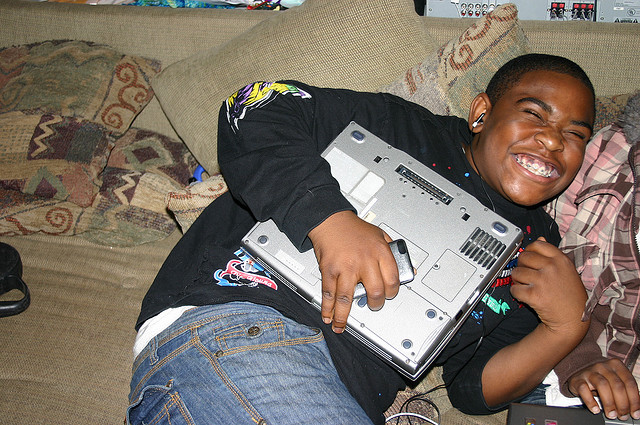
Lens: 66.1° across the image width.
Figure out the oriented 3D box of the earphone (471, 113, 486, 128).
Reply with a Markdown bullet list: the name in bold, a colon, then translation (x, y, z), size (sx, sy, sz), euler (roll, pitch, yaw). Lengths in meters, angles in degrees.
- **earphone**: translation (0.581, -0.342, 1.799), size (0.019, 0.068, 0.017), euler (26, 21, -34)

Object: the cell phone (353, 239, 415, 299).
- **cell phone**: translation (0.187, 0.174, 1.508), size (0.177, 0.018, 0.099), euler (-38, 76, -17)
